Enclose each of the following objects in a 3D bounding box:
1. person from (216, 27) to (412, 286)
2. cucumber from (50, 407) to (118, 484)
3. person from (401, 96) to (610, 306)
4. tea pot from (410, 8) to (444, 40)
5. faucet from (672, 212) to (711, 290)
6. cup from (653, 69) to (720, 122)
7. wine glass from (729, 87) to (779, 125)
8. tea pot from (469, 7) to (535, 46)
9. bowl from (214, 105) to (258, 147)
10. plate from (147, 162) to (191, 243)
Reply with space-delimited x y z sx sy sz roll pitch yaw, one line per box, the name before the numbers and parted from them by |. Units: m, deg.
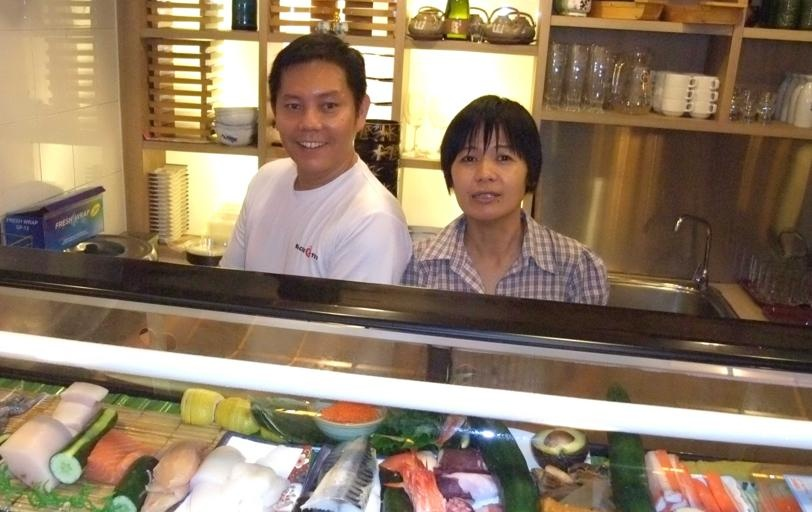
person | -0.238 -0.220 1.764 0.502 0.807 0.428 1 16 7
cucumber | -0.454 0.267 0.863 0.044 0.043 0.120 -27 21 50
person | 0.305 -0.115 1.901 0.506 0.721 0.483 -5 -13 7
tea pot | 0.090 -0.999 2.601 0.153 0.120 0.145 5 31 -3
faucet | 1.354 -0.036 2.811 0.128 0.359 0.152 1 -3 3
cup | 1.196 -0.694 2.554 0.273 0.188 0.126 9 12 19
wine glass | 1.458 -0.632 2.512 0.183 0.122 0.158 6 10 20
tea pot | 0.435 -0.971 2.609 0.283 0.198 0.161 2 13 11
bowl | -0.771 -0.596 2.719 0.196 0.125 0.186 0 15 0
plate | -1.157 -0.274 2.978 0.192 0.374 0.176 -6 21 -15
